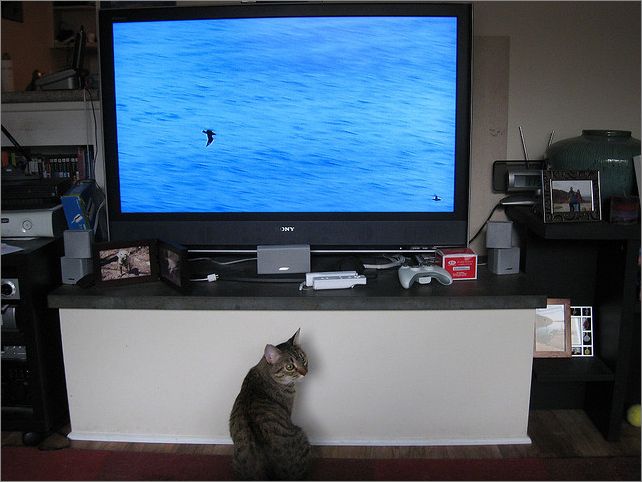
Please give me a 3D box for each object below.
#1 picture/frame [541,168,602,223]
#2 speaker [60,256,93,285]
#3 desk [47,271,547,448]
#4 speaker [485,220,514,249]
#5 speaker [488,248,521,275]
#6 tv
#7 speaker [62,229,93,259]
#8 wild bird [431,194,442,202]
[{"bbox_3d":[1.157,-0.198,2.636,0.255,0.225,0.022,0,-2,2],"label":"picture/frame"},{"bbox_3d":[-1.157,0.135,2.734,0.134,0.124,0.133,-5,5,34],"label":"speaker"},{"bbox_3d":[0.047,0.572,2.985,2.179,0.700,0.798,-4,8,22],"label":"desk"},{"bbox_3d":[0.845,-0.027,2.713,0.132,0.122,0.128,-1,2,3],"label":"speaker"},{"bbox_3d":[0.890,0.097,2.820,0.138,0.128,0.135,-1,10,0],"label":"speaker"},{"bbox_3d":[-0.141,-0.500,2.717,1.400,0.930,0.353,0,6,1],"label":"tv"},{"bbox_3d":[-1.136,0.015,2.722,0.139,0.128,0.137,-1,8,-7],"label":"speaker"},{"bbox_3d":[0.559,-0.202,2.758,0.031,0.023,0.046,10,10,-27],"label":"wild bird"}]
